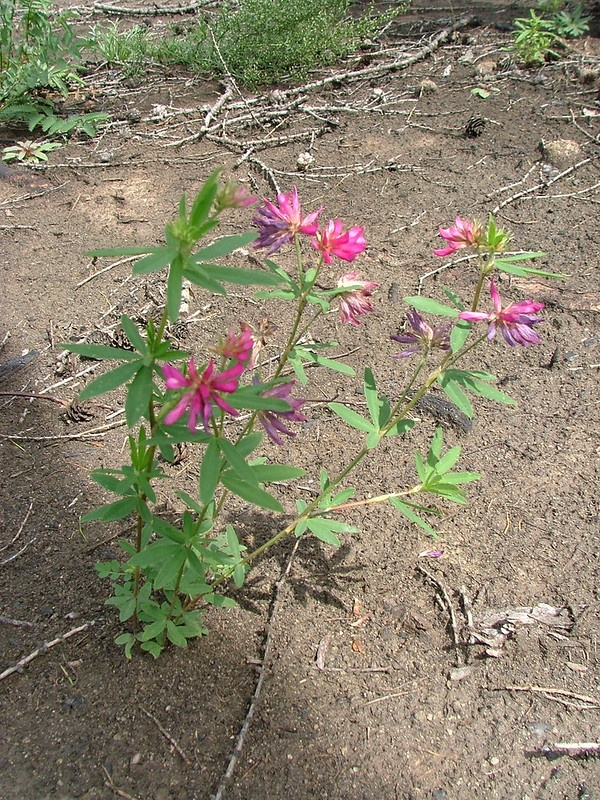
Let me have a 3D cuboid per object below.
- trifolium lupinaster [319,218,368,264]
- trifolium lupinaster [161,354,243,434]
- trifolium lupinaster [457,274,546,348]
[{"bbox_3d":[0.104,-0.379,1.629,0.133,0.108,0.108,14,32,25],"label":"trifolium lupinaster"},{"bbox_3d":[-0.192,-0.012,1.336,0.167,0.139,0.062,0,4,-10],"label":"trifolium lupinaster"},{"bbox_3d":[0.502,-0.220,1.696,0.190,0.202,0.274,7,29,13],"label":"trifolium lupinaster"}]
